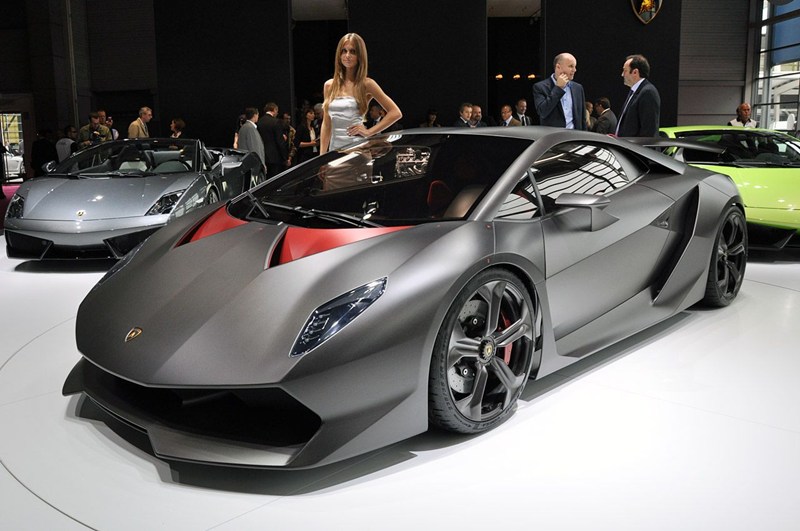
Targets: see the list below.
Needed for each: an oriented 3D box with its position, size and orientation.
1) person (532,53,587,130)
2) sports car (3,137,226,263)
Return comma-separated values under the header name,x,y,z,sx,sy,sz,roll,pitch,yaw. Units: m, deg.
name,x,y,z,sx,sy,sz,roll,pitch,yaw
person,1.885,-2.088,5.758,0.581,0.888,0.566,2,15,18
sports car,-3.075,-0.857,5.753,1.491,0.718,2.432,1,16,12
